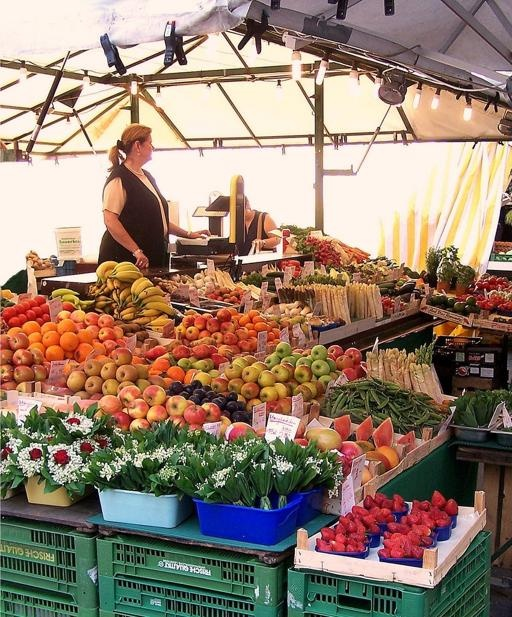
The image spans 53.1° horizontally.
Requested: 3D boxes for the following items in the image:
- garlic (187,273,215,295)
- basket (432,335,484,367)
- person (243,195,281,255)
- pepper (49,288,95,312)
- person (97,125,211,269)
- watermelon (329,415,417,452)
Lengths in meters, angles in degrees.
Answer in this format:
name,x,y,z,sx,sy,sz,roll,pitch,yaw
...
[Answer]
name,x,y,z,sx,sy,sz,roll,pitch,yaw
garlic,-0.501,-0.237,4.936,0.200,0.087,0.248,-6,14,-22
basket,1.999,0.434,5.097,0.527,0.296,0.452,1,10,39
person,0.020,-1.349,8.531,0.615,0.972,0.643,2,10,22
pepper,-1.290,-0.061,3.603,0.191,0.093,0.221,3,9,-36
person,-1.134,-1.020,4.892,0.641,1.336,0.625,2,-4,-14
watermelon,0.554,0.565,2.315,0.425,0.150,0.382,1,-3,-5
